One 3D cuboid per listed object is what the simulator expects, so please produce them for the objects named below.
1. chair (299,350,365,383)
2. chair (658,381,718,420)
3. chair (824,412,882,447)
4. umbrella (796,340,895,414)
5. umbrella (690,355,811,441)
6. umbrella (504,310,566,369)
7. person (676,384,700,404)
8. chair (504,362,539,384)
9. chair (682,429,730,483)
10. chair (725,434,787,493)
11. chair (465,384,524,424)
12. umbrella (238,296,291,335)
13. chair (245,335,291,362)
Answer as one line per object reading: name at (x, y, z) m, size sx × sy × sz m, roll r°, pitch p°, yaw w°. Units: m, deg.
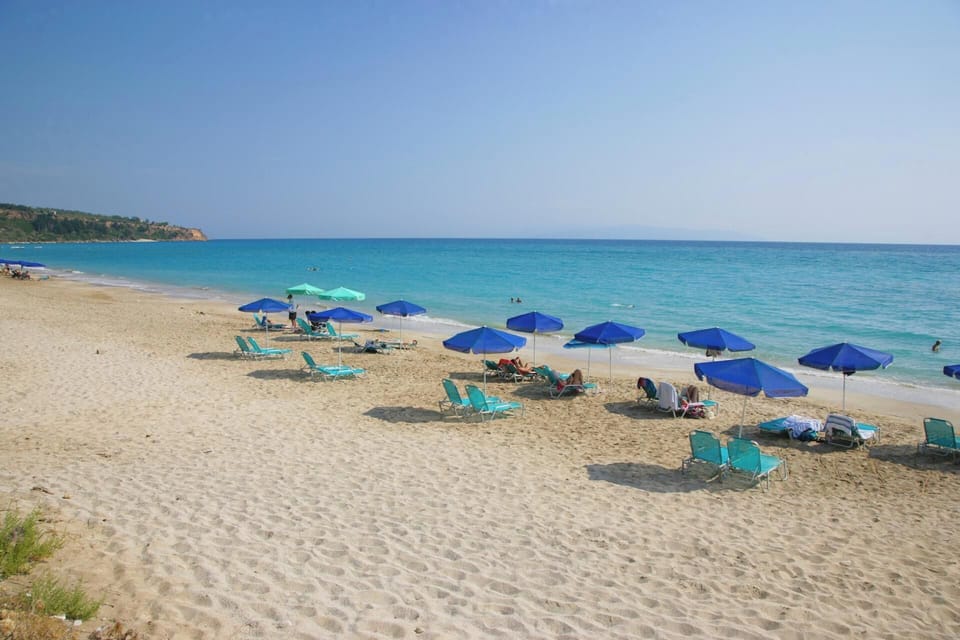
chair at (-4.065, 1.308, 18.256) m, size 1.735 × 0.532 × 0.935 m, roll -3°, pitch 14°, yaw -32°
chair at (5.339, 1.996, 16.420) m, size 1.493 × 0.595 × 0.959 m, roll -1°, pitch 6°, yaw -29°
chair at (8.662, 2.533, 14.972) m, size 1.297 × 0.348 × 0.750 m, roll 3°, pitch 1°, yaw -34°
umbrella at (8.446, 0.922, 15.095) m, size 1.851 × 0.708 × 0.897 m, roll 2°, pitch 9°, yaw 14°
umbrella at (5.376, 1.186, 13.078) m, size 2.006 × 0.741 × 0.821 m, roll 6°, pitch 11°, yaw 38°
umbrella at (1.413, 0.348, 18.124) m, size 1.631 × 1.178 × 1.448 m, roll 5°, pitch 6°, yaw 25°
person at (5.305, 1.875, 16.685) m, size 0.755 × 0.318 × 0.848 m, roll 1°, pitch -4°, yaw 9°
chair at (1.148, 1.524, 19.226) m, size 0.982 × 0.408 × 0.550 m, roll -5°, pitch 10°, yaw -4°
chair at (4.383, 2.584, 12.710) m, size 0.858 × 0.867 × 0.806 m, roll 3°, pitch 10°, yaw 14°
chair at (5.320, 2.662, 12.626) m, size 0.781 × 0.925 × 1.239 m, roll 10°, pitch 13°, yaw 44°
chair at (0.330, 2.002, 15.587) m, size 1.486 × 0.637 × 0.743 m, roll 0°, pitch 5°, yaw -30°
umbrella at (-7.536, -0.154, 22.501) m, size 1.794 × 0.759 × 1.419 m, roll -4°, pitch 15°, yaw -21°
chair at (-6.795, 0.882, 20.382) m, size 1.494 × 0.443 × 0.814 m, roll -1°, pitch 9°, yaw -12°
